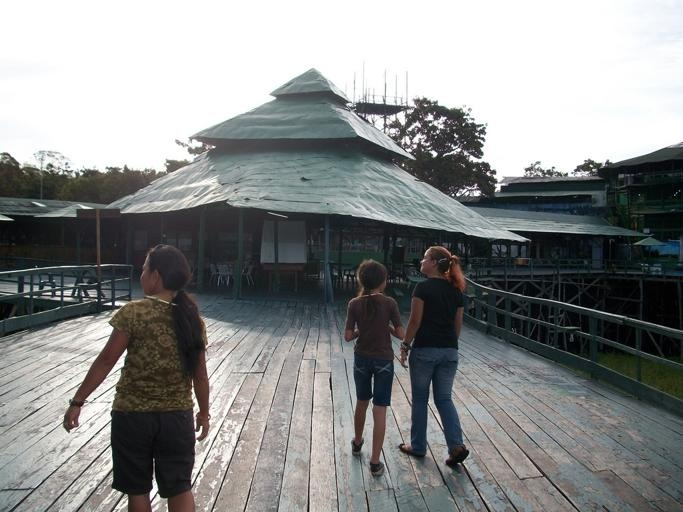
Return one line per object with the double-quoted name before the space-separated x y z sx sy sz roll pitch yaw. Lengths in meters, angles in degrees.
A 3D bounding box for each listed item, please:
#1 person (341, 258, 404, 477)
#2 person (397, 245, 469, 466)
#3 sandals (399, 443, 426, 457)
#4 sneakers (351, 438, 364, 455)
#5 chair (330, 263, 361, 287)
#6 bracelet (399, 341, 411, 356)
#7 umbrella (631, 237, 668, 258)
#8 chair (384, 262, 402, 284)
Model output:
"person" 0.284 1.024 4.958 0.540 1.962 0.461 0 0 33
"person" 0.919 0.952 5.134 0.670 2.085 0.643 -1 0 15
"sandals" 0.693 1.923 5.103 0.224 0.075 0.090 17 7 32
"sneakers" 0.149 1.889 5.065 0.068 0.084 0.182 2 4 2
"chair" 0.175 0.880 22.977 0.992 1.353 0.967 1 -7 -12
"bracelet" 0.628 0.919 5.081 0.123 0.172 0.161 -3 6 7
"umbrella" 21.020 -0.731 35.117 2.169 1.684 2.325 -2 1 -3
"chair" 2.109 0.711 20.929 0.689 1.458 0.740 0 8 4
